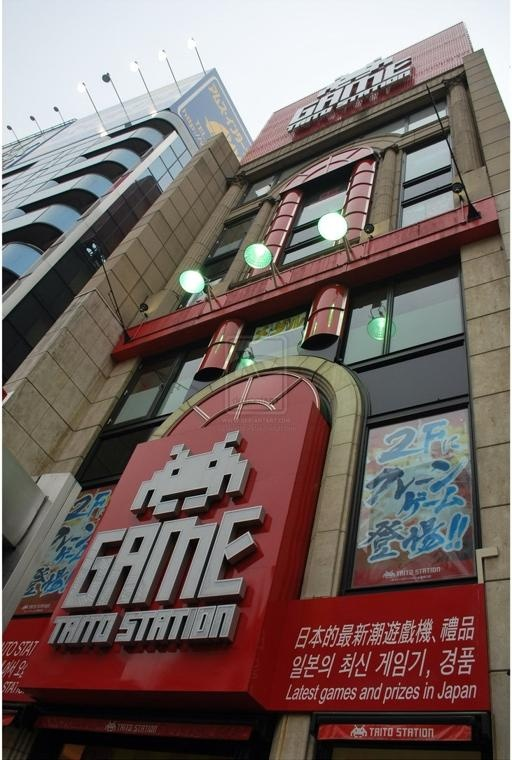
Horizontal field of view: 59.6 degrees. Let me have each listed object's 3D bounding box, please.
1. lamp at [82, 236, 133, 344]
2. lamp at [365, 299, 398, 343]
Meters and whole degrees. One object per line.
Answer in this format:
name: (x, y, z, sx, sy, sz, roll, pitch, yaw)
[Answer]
lamp: (-5.230, -3.059, 15.724, 1.796, 5.592, 1.073, 11, -53, -37)
lamp: (2.978, -1.348, 10.540, 0.748, 1.367, 0.915, 0, -55, 15)
